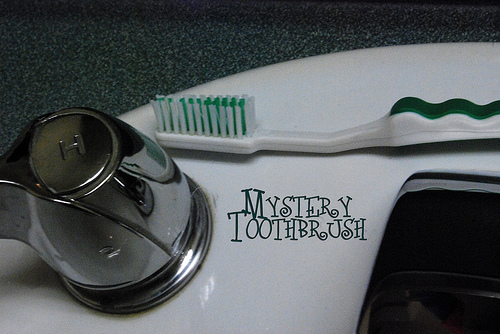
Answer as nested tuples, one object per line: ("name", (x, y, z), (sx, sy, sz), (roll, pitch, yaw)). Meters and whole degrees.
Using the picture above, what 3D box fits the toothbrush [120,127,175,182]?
("toothbrush", (-0.097, -0.012, 0.563), (0.014, 0.061, 0.037), (-15, 48, 29))
